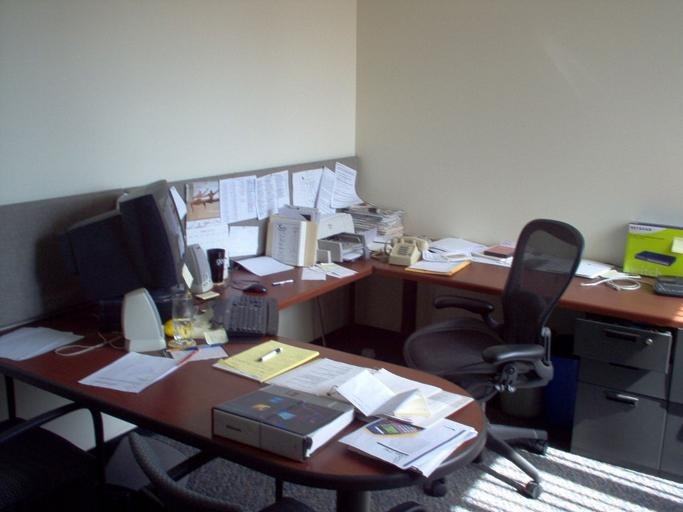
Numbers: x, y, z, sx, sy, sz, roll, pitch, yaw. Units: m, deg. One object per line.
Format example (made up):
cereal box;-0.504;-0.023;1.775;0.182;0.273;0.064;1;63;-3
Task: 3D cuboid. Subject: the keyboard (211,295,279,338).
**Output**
keyboard;-0.417;0.256;2.171;0.279;0.070;0.279;1;28;-6

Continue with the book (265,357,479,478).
book;0.113;0.519;1.633;0.392;0.050;0.333;7;13;35

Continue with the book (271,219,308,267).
book;-0.314;-0.076;3.001;0.289;0.257;0.112;5;7;30

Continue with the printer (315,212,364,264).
printer;-0.028;-0.122;3.179;0.265;0.181;0.348;-18;31;-39

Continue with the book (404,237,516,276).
book;0.697;0.011;3.091;0.366;0.040;0.389;11;18;40

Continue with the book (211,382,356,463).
book;-0.165;0.501;1.461;0.266;0.055;0.263;6;9;29

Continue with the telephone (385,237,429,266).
telephone;0.415;-0.042;3.114;0.211;0.090;0.198;6;20;26

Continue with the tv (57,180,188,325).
tv;-0.868;-0.056;2.335;0.589;0.589;0.626;1;10;10

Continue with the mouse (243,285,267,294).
mouse;-0.438;0.171;2.512;0.091;0.027;0.048;3;11;12
